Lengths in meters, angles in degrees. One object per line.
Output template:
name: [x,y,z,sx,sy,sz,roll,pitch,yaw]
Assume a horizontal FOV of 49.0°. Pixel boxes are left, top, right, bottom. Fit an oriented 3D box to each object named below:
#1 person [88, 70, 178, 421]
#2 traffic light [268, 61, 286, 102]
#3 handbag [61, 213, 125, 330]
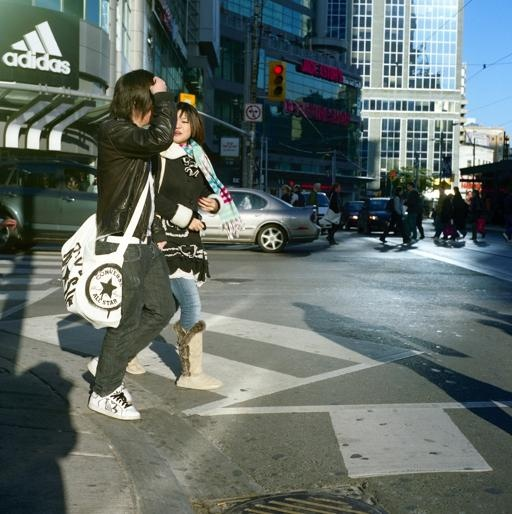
person: [-0.651,-0.045,3.105,0.458,1.929,0.608,3,2,-8]
traffic light: [0.838,-6.701,21.469,0.667,1.144,0.791,4,2,0]
handbag: [-0.890,0.073,3.029,0.435,0.563,0.189,6,3,44]
